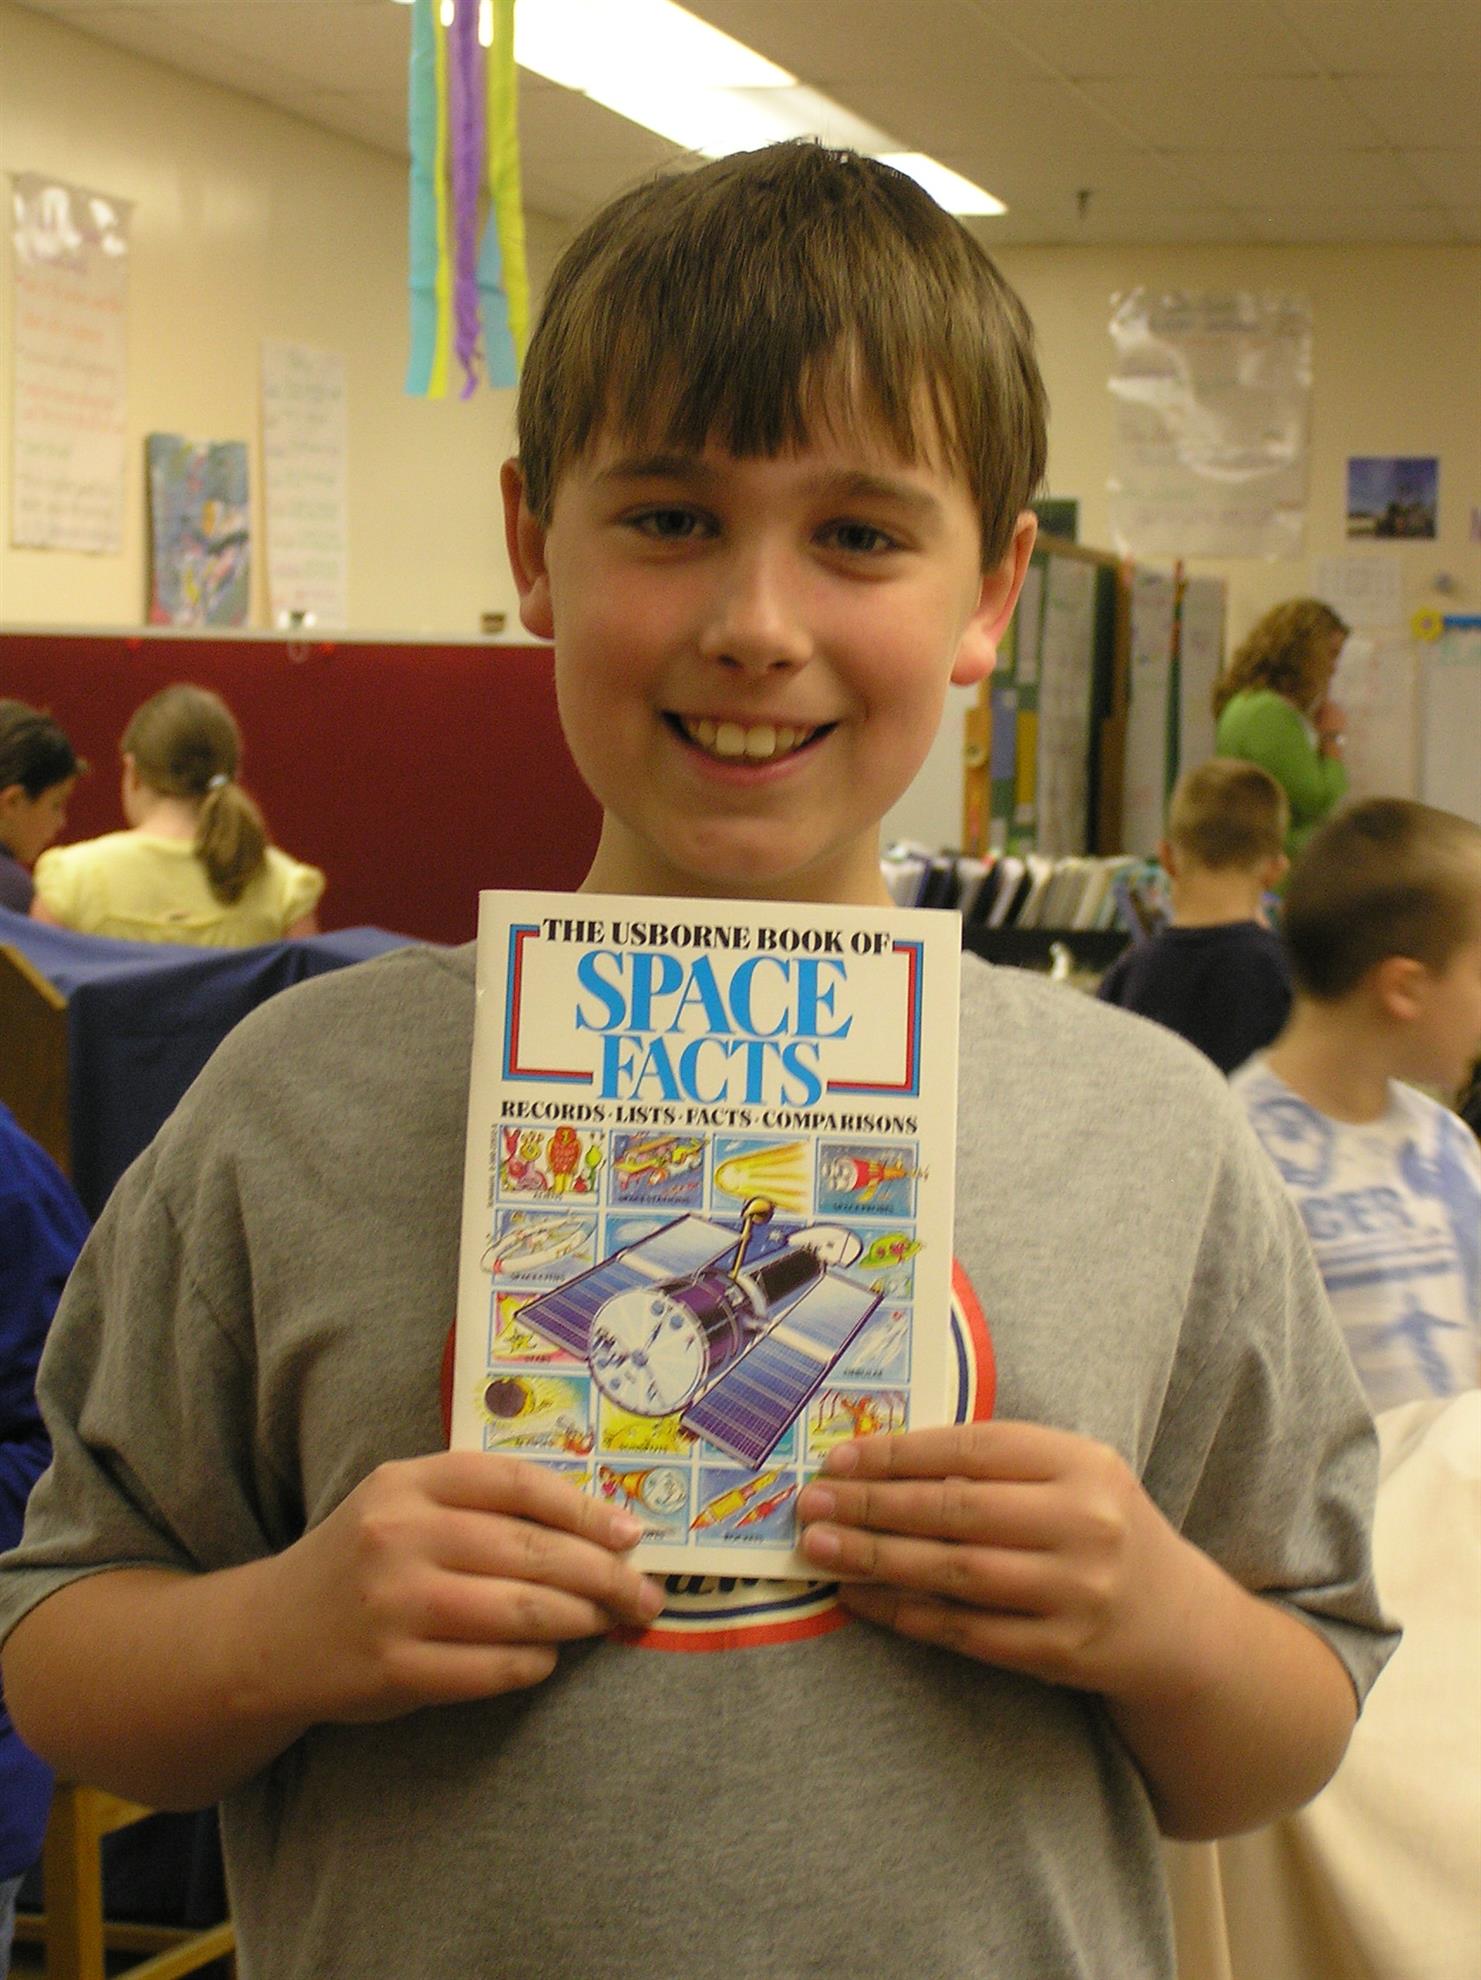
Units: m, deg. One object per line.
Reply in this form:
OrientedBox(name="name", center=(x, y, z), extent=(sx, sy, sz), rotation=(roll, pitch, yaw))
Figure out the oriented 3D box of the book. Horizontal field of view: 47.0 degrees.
OrientedBox(name="book", center=(-0.010, 0.091, 0.584), extent=(0.226, 0.296, 0.023), rotation=(2, -7, 4))
